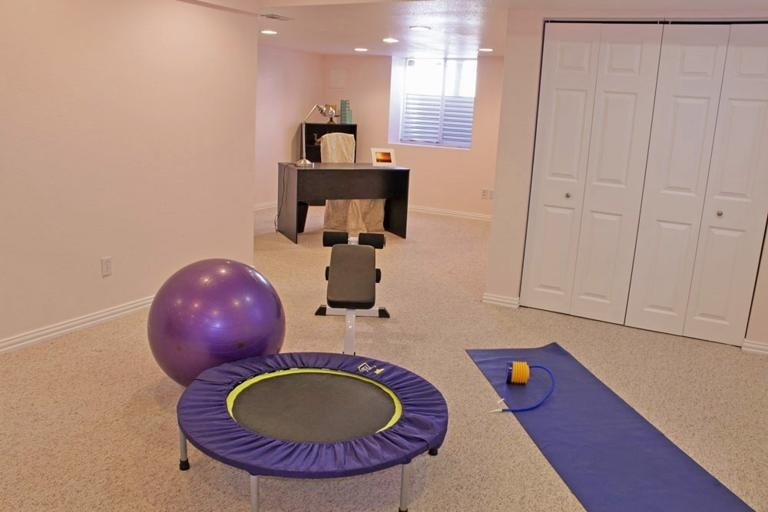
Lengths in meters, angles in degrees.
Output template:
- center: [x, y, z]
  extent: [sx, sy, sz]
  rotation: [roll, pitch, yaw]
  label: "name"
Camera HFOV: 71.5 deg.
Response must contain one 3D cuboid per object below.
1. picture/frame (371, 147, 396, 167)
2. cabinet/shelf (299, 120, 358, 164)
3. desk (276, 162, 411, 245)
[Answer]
- center: [-0.015, -1.425, 7.677]
  extent: [0.485, 0.035, 0.358]
  rotation: [3, 59, -6]
  label: "picture/frame"
- center: [-0.952, -1.885, 8.807]
  extent: [1.128, 1.012, 0.374]
  rotation: [0, 9, -6]
  label: "cabinet/shelf"
- center: [-0.543, -0.781, 7.794]
  extent: [1.607, 0.996, 0.894]
  rotation: [-3, 12, -19]
  label: "desk"
